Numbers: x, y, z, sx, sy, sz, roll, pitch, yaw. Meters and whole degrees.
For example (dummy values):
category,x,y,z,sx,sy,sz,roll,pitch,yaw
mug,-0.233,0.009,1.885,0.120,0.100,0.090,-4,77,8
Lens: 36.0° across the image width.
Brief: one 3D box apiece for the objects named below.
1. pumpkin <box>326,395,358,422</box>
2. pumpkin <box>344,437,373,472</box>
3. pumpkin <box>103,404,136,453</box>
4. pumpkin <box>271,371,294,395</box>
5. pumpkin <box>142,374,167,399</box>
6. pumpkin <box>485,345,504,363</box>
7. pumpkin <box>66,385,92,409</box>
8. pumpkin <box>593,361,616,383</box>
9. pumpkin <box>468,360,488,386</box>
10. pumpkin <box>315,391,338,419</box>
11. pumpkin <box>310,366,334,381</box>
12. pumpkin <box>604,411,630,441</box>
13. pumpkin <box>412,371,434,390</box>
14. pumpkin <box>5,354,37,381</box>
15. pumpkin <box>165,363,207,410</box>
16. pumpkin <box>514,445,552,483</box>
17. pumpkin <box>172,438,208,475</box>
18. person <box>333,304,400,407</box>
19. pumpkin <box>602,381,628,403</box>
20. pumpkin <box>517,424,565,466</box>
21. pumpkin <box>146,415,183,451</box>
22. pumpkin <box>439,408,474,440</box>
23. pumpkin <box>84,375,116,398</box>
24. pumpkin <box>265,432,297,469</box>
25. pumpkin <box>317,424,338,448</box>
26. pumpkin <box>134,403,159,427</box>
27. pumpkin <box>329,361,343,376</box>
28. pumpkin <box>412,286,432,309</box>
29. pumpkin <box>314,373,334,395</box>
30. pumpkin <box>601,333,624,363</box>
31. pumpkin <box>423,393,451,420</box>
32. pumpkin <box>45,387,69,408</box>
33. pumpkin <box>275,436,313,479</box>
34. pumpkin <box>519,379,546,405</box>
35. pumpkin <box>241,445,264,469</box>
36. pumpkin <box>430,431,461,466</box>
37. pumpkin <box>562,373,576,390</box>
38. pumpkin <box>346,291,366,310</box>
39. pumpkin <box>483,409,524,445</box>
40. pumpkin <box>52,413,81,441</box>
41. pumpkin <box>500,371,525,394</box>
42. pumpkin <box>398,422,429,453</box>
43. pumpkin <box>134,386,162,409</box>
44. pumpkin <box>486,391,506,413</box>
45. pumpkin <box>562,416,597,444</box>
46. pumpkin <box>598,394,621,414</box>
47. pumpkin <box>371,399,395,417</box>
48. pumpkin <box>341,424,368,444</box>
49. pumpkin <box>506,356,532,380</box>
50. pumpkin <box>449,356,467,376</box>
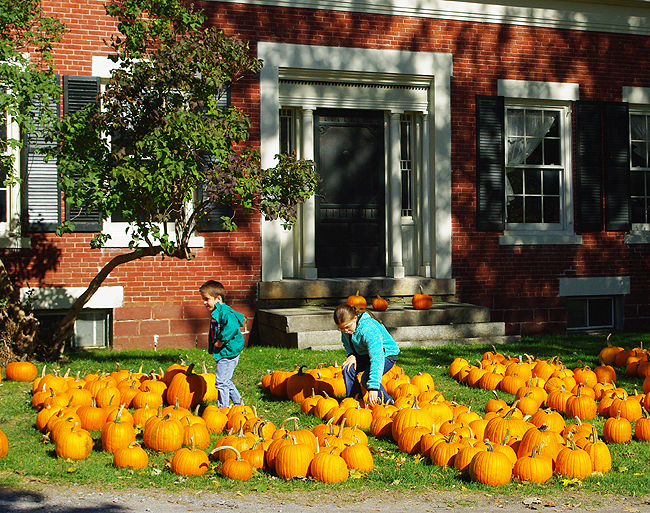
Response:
category,x,y,z,sx,sy,sz,roll,pitch,yaw
pumpkin,0.173,1.682,11.221,0.220,0.252,0.239,-8,1,24
pumpkin,0.379,2.010,10.141,0.239,0.335,0.259,-23,1,-12
pumpkin,-2.173,1.828,10.598,0.338,0.563,0.309,8,8,42
pumpkin,-0.510,1.560,12.459,0.236,0.331,0.261,3,-2,16
pumpkin,-2.028,1.520,11.865,0.215,0.242,0.237,5,5,3
pumpkin,2.294,1.320,13.680,0.172,0.281,0.190,-1,4,1
pumpkin,-2.799,1.608,11.514,0.179,0.200,0.197,-3,1,2
pumpkin,3.644,1.518,13.145,0.232,0.278,0.255,5,-2,-1
pumpkin,1.916,1.510,12.926,0.202,0.336,0.220,12,-7,2
pumpkin,-0.003,1.729,11.496,0.193,0.307,0.201,3,-6,-42
pumpkin,-0.027,1.460,12.602,0.154,0.168,0.162,-4,-5,39
pumpkin,3.207,1.881,11.080,0.306,0.304,0.291,1,-1,16
pumpkin,1.196,1.530,12.392,0.180,0.254,0.195,-4,3,3
pumpkin,-3.902,1.422,12.949,0.267,0.274,0.283,0,2,-19
pumpkin,-1.609,1.598,11.904,0.479,0.733,0.498,13,-4,-10
pumpkin,2.042,2.060,10.045,0.315,0.377,0.333,-3,3,-10
pumpkin,-2.607,1.931,10.452,0.371,0.449,0.404,1,3,-9
person,0.449,1.204,11.626,0.543,1.365,0.887,2,8,25
pumpkin,3.435,1.626,11.999,0.198,0.235,0.210,-8,1,-15
pumpkin,2.195,1.892,10.279,0.323,0.385,0.327,-1,6,-38
pumpkin,-1.683,1.853,10.528,0.308,0.324,0.303,-7,9,-41
pumpkin,1.389,1.787,10.633,0.202,0.234,0.220,0,2,-5
pumpkin,-2.669,1.539,11.952,0.215,0.237,0.225,-1,-2,-24
pumpkin,-0.483,1.904,10.152,0.290,0.462,0.317,5,7,37
pumpkin,0.013,1.850,10.403,0.170,0.267,0.181,-1,0,0
pumpkin,-1.993,1.741,11.117,0.188,0.212,0.203,-10,3,-10
pumpkin,0.129,1.421,12.785,0.149,0.172,0.149,-6,4,-37
pumpkin,1.541,0.666,16.256,0.305,0.479,0.334,0,-4,1
pumpkin,-0.020,1.573,12.269,0.158,0.263,0.172,-6,-6,27
pumpkin,4.286,1.383,15.091,0.285,0.448,0.306,-3,2,-13
pumpkin,1.255,1.653,11.171,0.229,0.364,0.245,-2,0,-2
pumpkin,-3.045,1.615,11.473,0.172,0.204,0.184,-7,-12,-12
pumpkin,-0.311,2.008,9.945,0.332,0.482,0.366,3,-1,-5
pumpkin,2.465,1.599,12.021,0.280,0.319,0.293,3,1,-26
pumpkin,-0.720,2.007,10.053,0.168,0.199,0.186,3,-11,0
pumpkin,1.213,1.957,10.305,0.264,0.406,0.276,14,-10,-30
pumpkin,3.027,1.553,12.539,0.139,0.202,0.151,-9,3,24
pumpkin,0.510,0.695,15.931,0.234,0.286,0.259,2,-7,-4
pumpkin,1.937,1.816,10.665,0.326,0.515,0.349,9,-10,-36
pumpkin,-2.715,1.775,10.568,0.259,0.283,0.269,-5,11,-25
pumpkin,2.323,1.575,12.557,0.201,0.227,0.221,2,6,3
pumpkin,0.905,1.874,10.540,0.234,0.257,0.259,2,10,8
pumpkin,-2.052,1.643,11.636,0.236,0.268,0.262,-1,-2,8
pumpkin,1.974,1.699,11.781,0.222,0.350,0.248,1,-3,-4
pumpkin,2.645,1.832,10.561,0.280,0.340,0.309,0,5,19
pumpkin,3.320,1.725,11.787,0.193,0.225,0.212,3,6,0
pumpkin,0.640,1.682,11.191,0.154,0.184,0.168,-3,-2,23
pumpkin,0.295,1.844,10.374,0.178,0.200,0.195,6,4,15
pumpkin,2.478,1.407,12.877,0.252,0.401,0.278,4,-5,-8
pumpkin,1.761,1.445,13.405,0.196,0.279,0.207,8,14,18
